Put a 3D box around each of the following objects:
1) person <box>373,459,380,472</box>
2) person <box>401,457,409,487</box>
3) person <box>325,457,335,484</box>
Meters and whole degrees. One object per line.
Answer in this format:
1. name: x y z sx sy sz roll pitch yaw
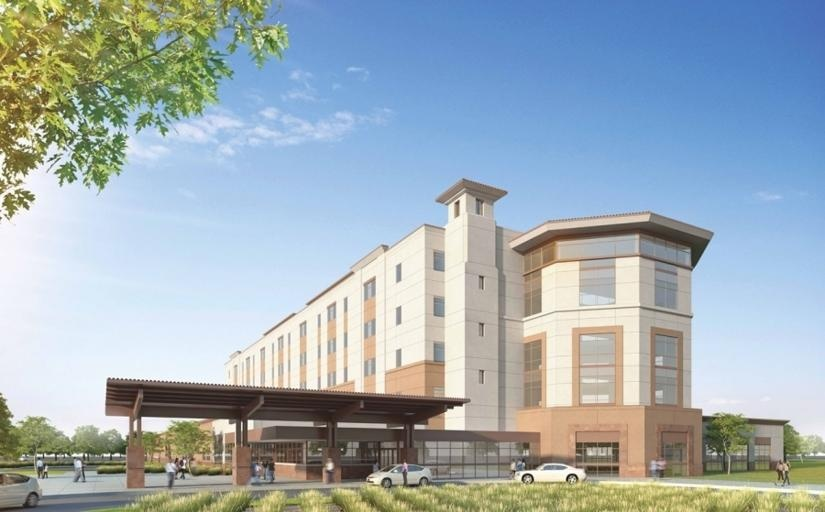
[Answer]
1. person: -2.924 17.254 63.389 0.708 1.016 0.770 7 -12 -35
2. person: -0.509 15.149 53.812 0.518 1.354 1.489 1 -16 -1
3. person: -6.003 15.804 57.089 0.801 1.835 1.074 4 -16 -11
